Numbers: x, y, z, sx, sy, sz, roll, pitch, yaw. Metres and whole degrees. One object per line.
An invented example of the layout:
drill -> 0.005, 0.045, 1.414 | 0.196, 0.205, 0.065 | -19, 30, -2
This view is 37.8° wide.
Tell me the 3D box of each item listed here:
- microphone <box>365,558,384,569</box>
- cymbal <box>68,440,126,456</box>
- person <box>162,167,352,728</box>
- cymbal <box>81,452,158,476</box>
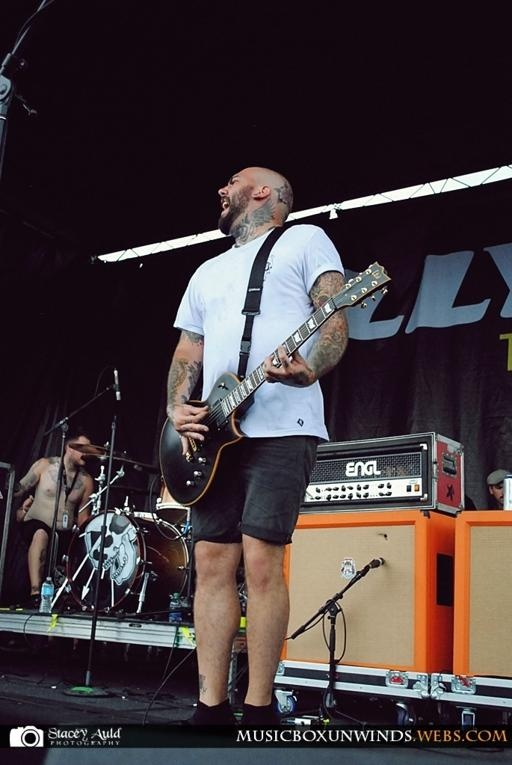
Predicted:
microphone -> 0.463, 0.722, 2.990 | 0.039, 0.033, 0.065 | -29, -13, 24
cymbal -> -1.236, 0.510, 5.773 | 0.196, 0.102, 0.652 | 5, -10, 20
person -> 0.000, 0.080, 2.064 | 0.381, 1.601, 0.699 | 10, -13, -21
cymbal -> -1.109, 0.669, 6.122 | 0.487, 0.102, 0.409 | 12, -10, -41
